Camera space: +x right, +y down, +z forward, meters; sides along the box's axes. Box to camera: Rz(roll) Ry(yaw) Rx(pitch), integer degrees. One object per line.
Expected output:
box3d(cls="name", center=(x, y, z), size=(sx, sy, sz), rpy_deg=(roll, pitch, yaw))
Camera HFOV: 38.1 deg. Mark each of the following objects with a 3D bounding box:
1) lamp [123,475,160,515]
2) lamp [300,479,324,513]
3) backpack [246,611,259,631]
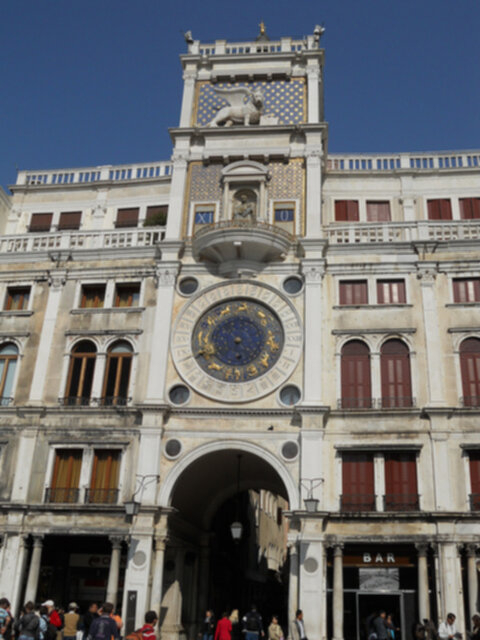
box3d(cls="lamp", center=(-3.771, 6.791, 27.057), size=(1.020, 2.158, 2.974), rpy_deg=(6, -30, -3))
box3d(cls="lamp", center=(2.725, 6.607, 26.509), size=(0.926, 1.610, 1.681), rpy_deg=(1, -30, 7))
box3d(cls="backpack", center=(0.428, 10.331, 23.772), size=(0.503, 0.651, 0.404), rpy_deg=(3, -29, 2))
